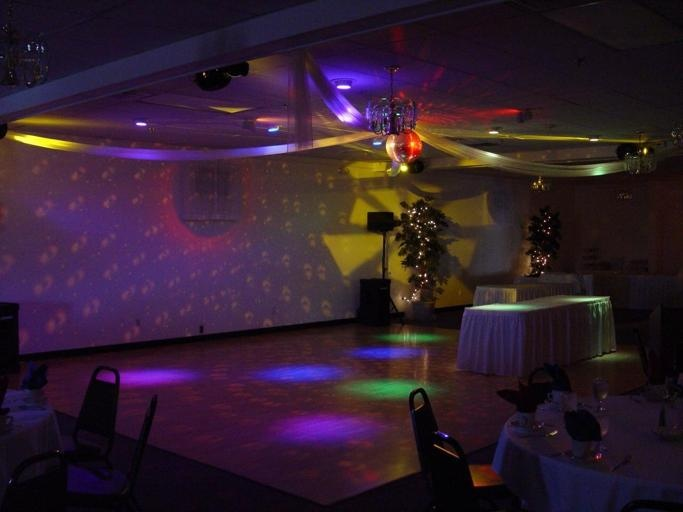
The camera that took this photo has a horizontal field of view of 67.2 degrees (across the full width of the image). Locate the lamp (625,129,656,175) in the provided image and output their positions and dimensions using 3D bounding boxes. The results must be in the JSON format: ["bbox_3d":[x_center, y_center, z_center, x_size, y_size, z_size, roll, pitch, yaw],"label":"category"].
[{"bbox_3d":[5.258,-1.757,8.760,0.402,0.669,0.709,-1,8,34],"label":"lamp"}]

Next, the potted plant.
[{"bbox_3d":[2.373,0.009,14.071,1.126,3.220,2.109,1,3,29],"label":"potted plant"}]

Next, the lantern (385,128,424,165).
[{"bbox_3d":[0.744,-1.229,5.860,0.396,0.521,0.388,0,2,-39],"label":"lantern"}]

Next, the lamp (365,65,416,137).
[{"bbox_3d":[0.548,-1.656,5.478,0.554,0.701,0.532,-2,14,-6],"label":"lamp"}]

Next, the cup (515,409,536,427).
[{"bbox_3d":[1.097,0.957,3.054,0.122,0.088,0.109,1,-3,-18],"label":"cup"}]
